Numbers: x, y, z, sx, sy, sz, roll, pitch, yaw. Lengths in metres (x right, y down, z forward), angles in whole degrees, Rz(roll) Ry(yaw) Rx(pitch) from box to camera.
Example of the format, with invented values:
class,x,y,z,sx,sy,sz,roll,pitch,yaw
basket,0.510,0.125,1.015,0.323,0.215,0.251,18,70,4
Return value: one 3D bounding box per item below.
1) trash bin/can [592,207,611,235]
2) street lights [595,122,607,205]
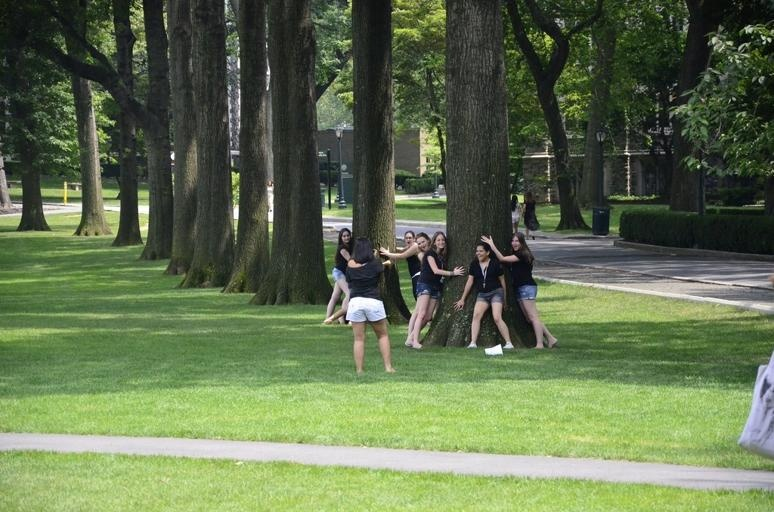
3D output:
class,x,y,z,sx,sy,sz,roll,pitch,yaw
trash bin/can,9.766,-1.534,63.785,0.675,1.266,0.778,0,1,-13
street lights,11.942,-4.958,78.656,0.931,4.457,0.885,-3,-5,40
